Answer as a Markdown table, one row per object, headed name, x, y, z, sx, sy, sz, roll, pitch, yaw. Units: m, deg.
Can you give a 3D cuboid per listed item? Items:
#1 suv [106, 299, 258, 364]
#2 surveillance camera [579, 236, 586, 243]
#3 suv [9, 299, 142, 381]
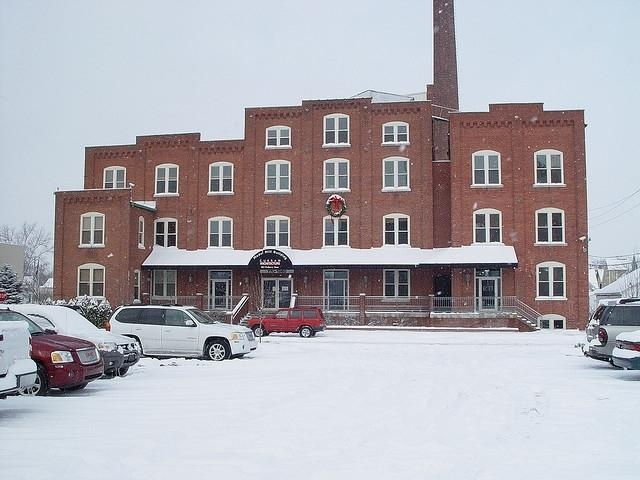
| name | x | y | z | sx | sy | sz | roll | pitch | yaw |
| --- | --- | --- | --- | --- | --- | --- | --- | --- | --- |
| suv | -4.664 | 3.113 | 29.299 | 4.205 | 1.717 | 2.015 | -1 | -5 | 4 |
| surveillance camera | 14.601 | -0.038 | 48.097 | 0.459 | 0.322 | 0.212 | 1 | 3 | 5 |
| suv | -7.220 | 2.901 | 25.066 | 3.651 | 1.621 | 1.828 | 1 | -5 | 20 |
